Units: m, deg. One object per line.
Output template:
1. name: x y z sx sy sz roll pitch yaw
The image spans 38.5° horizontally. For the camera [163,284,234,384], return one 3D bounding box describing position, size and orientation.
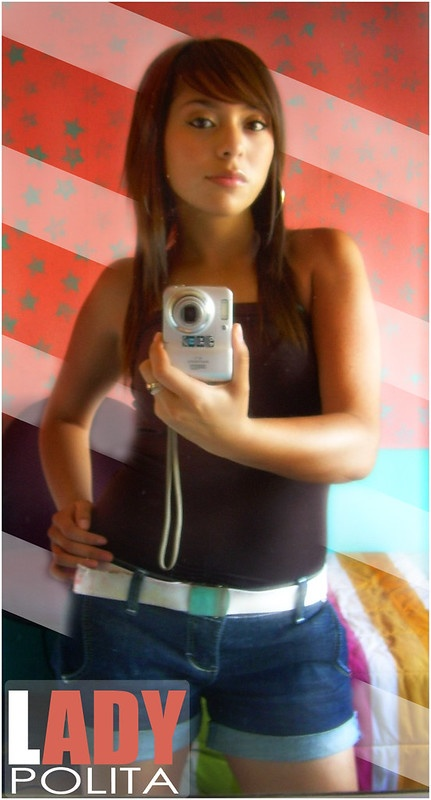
1. camera: -0.024 -0.095 0.799 0.091 0.145 0.059 -4 38 -8
